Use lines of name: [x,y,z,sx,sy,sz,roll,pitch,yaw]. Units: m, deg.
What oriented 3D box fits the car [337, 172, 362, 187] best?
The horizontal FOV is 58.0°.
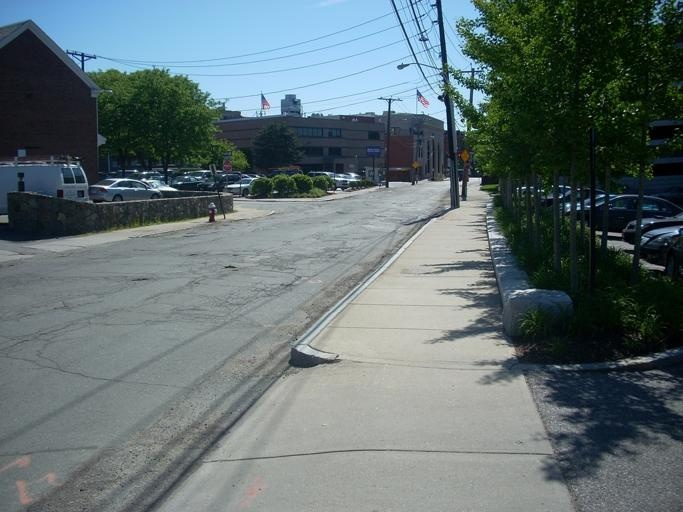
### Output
car: [0.903,-8.408,68.499,1.794,0.908,3.039,4,13,16]
